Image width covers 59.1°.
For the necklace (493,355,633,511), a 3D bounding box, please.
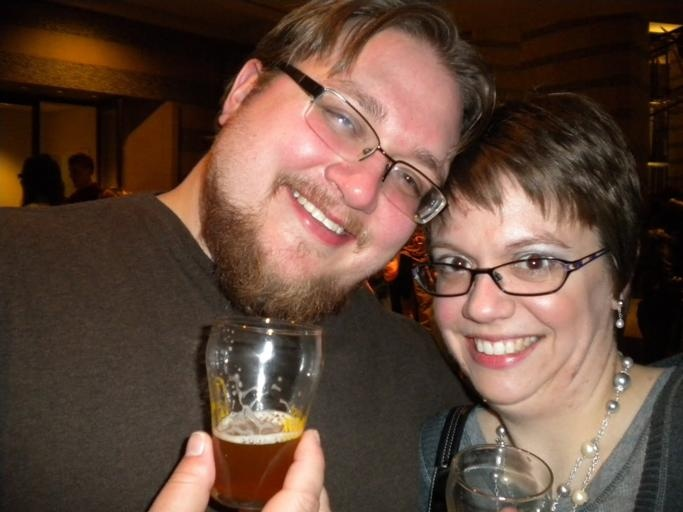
[{"bbox_3d":[0.879,0.699,2.230,0.098,0.640,0.403,14,9,-35],"label":"necklace"}]
